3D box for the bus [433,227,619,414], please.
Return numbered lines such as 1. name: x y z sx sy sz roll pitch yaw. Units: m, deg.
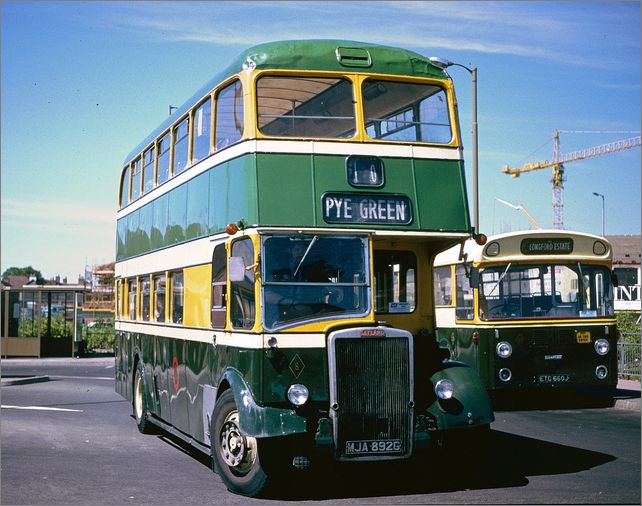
1. bus: 4.220 1.801 17.583 2.756 3.542 6.295 1 -8 -11
